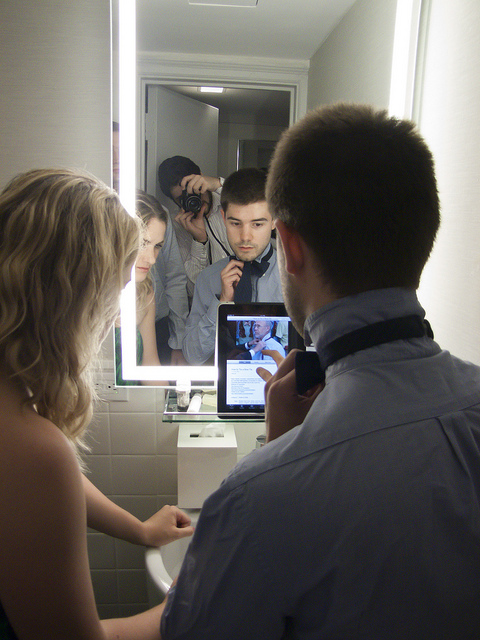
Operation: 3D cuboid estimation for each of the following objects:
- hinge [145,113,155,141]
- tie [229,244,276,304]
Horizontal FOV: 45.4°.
[{"bbox_3d":[-0.197,-0.420,1.247,0.021,0.056,0.009,1,7,-2],"label":"hinge"},{"bbox_3d":[0.026,-0.114,1.345,0.114,0.217,0.029,2,14,-8],"label":"tie"}]
